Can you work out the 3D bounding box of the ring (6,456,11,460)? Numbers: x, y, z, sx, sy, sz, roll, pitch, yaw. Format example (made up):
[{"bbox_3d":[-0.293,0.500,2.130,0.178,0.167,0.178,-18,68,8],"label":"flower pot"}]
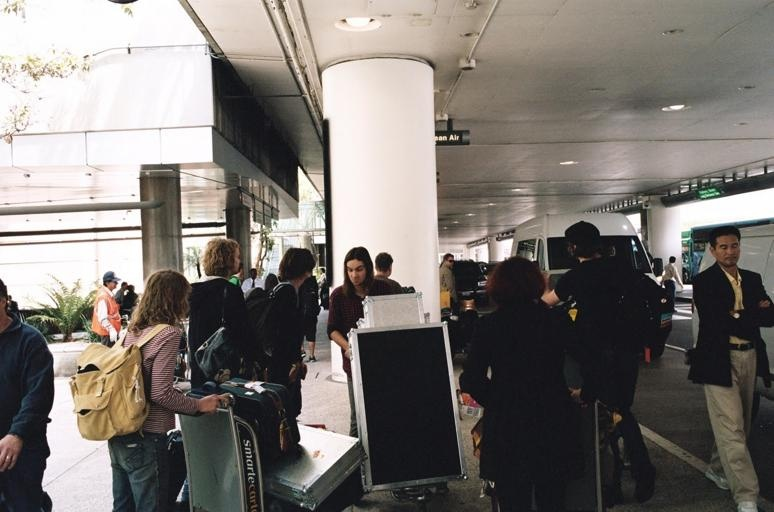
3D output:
[{"bbox_3d":[-3.667,1.942,6.007,0.039,0.026,0.013,11,5,-29],"label":"ring"}]

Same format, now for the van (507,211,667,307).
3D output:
[{"bbox_3d":[4.503,-0.295,14.981,2.195,1.859,3.925,-1,-5,-3],"label":"van"}]

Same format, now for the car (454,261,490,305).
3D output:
[{"bbox_3d":[2.863,0.838,21.449,1.167,0.858,2.436,-1,-5,2],"label":"car"}]

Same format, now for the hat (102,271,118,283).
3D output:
[{"bbox_3d":[-5.817,0.438,13.036,0.303,0.162,0.201,-3,6,-16],"label":"hat"}]

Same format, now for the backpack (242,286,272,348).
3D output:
[{"bbox_3d":[-1.521,0.699,7.289,0.417,0.549,0.213,5,0,31],"label":"backpack"}]

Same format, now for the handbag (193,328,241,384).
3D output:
[{"bbox_3d":[-1.818,1.051,6.679,0.462,0.421,0.249,-40,-1,21],"label":"handbag"}]

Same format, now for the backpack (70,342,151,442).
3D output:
[{"bbox_3d":[-2.737,1.328,6.088,0.745,0.944,0.245,-1,-3,9],"label":"backpack"}]

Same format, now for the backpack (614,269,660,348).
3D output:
[{"bbox_3d":[2.868,0.582,7.107,0.661,0.860,0.238,-2,-2,-11],"label":"backpack"}]

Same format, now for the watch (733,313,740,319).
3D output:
[{"bbox_3d":[4.143,0.701,7.365,0.070,0.066,0.018,2,-1,20],"label":"watch"}]
